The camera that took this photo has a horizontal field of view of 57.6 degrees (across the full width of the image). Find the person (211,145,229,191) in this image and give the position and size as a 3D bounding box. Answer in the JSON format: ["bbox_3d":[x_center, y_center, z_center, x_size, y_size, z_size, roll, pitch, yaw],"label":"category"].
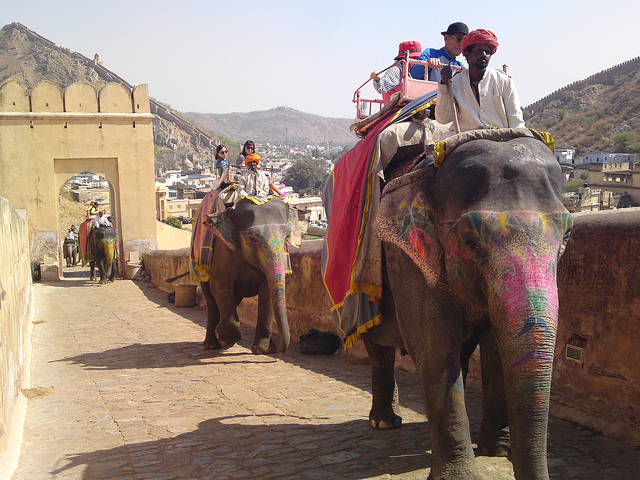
[{"bbox_3d":[-1.652,-1.204,9.661,0.286,0.829,1.309,-3,2,-8],"label":"person"}]

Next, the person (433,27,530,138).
[{"bbox_3d":[1.072,-1.021,4.025,0.609,0.777,0.574,-3,4,3],"label":"person"}]

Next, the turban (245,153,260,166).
[{"bbox_3d":[-0.982,-1.175,8.494,0.224,0.099,0.253,0,7,-1],"label":"turban"}]

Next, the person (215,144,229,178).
[{"bbox_3d":[-1.638,-1.337,9.779,0.206,0.610,0.748,-3,2,-8],"label":"person"}]

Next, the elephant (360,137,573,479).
[{"bbox_3d":[0.911,0.468,3.749,0.924,2.155,1.635,-3,2,-12],"label":"elephant"}]

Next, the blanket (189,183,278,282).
[{"bbox_3d":[-1.322,-0.060,9.197,1.203,1.265,1.655,0,-3,-26],"label":"blanket"}]

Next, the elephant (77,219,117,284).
[{"bbox_3d":[-6.912,0.191,18.415,0.990,1.727,3.131,-8,6,-29],"label":"elephant"}]

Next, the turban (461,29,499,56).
[{"bbox_3d":[1.063,-1.308,3.877,0.219,0.138,0.192,-2,2,14],"label":"turban"}]

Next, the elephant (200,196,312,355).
[{"bbox_3d":[-0.774,0.471,8.073,1.146,2.149,1.929,-4,3,-31],"label":"elephant"}]

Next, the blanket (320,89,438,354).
[{"bbox_3d":[0.272,0.036,4.511,0.846,1.330,2.322,-4,-11,-14],"label":"blanket"}]

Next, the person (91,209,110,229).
[{"bbox_3d":[-6.788,-0.617,18.088,0.444,0.484,0.840,3,-7,-31],"label":"person"}]

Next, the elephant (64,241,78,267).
[{"bbox_3d":[-11.038,0.601,25.862,0.515,0.777,1.175,-4,2,-23],"label":"elephant"}]

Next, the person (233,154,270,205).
[{"bbox_3d":[-1.043,-0.906,8.651,0.681,0.940,0.670,0,7,-15],"label":"person"}]
